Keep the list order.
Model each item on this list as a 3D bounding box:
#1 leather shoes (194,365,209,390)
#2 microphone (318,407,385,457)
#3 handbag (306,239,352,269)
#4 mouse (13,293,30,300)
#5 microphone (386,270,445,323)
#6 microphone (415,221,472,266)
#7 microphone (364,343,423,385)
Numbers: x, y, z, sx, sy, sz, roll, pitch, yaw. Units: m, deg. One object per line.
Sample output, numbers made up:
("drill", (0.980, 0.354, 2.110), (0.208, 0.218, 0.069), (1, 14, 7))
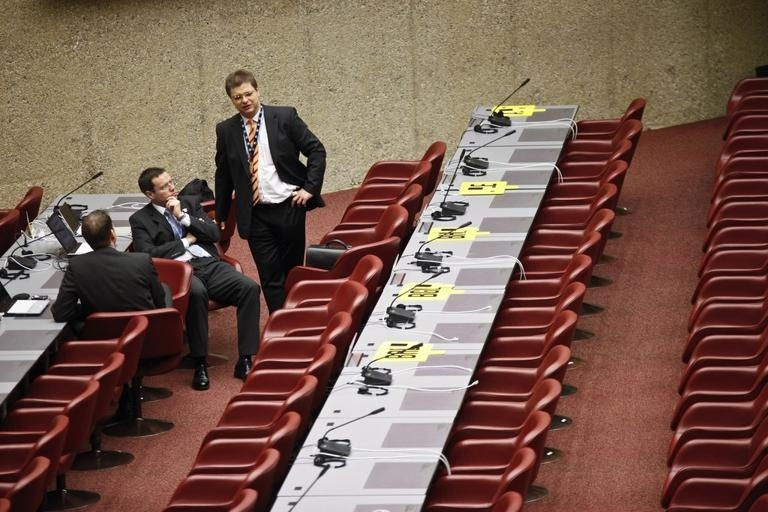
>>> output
("leather shoes", (-1.552, 1.027, 6.080), (0.139, 0.089, 0.242), (-3, 23, -8))
("microphone", (-0.168, 0.970, 3.946), (0.304, 0.266, 0.119), (21, 35, -12))
("handbag", (-0.493, -0.005, 6.434), (0.380, 0.197, 0.098), (3, 28, 8))
("mouse", (-2.891, 0.326, 5.728), (0.097, 0.021, 0.061), (-6, 7, 1))
("microphone", (0.207, 0.281, 5.280), (0.378, 0.012, 0.746), (1, 26, 24))
("microphone", (0.455, -0.095, 5.852), (0.590, 0.137, 0.236), (-6, 42, 11))
("microphone", (0.034, 0.674, 4.519), (0.213, 0.100, 0.339), (22, 39, 30))
